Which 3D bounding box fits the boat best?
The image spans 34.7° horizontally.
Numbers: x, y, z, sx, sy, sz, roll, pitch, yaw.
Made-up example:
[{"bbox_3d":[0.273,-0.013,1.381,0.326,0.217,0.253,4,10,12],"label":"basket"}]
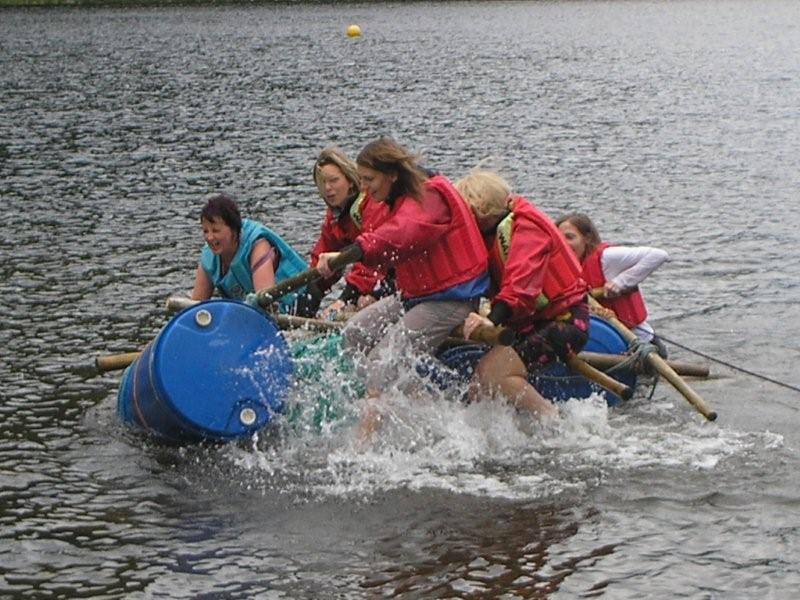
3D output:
[{"bbox_3d":[-0.475,0.725,13.230,5.637,1.659,1.888,-4,0,-22],"label":"boat"}]
